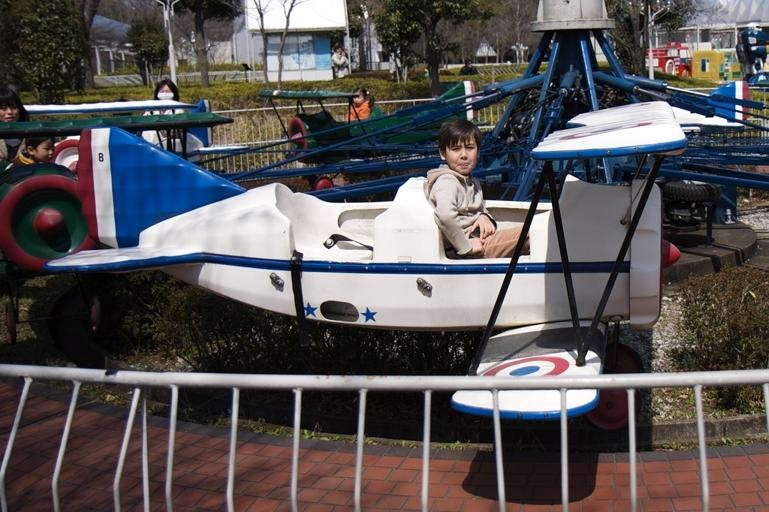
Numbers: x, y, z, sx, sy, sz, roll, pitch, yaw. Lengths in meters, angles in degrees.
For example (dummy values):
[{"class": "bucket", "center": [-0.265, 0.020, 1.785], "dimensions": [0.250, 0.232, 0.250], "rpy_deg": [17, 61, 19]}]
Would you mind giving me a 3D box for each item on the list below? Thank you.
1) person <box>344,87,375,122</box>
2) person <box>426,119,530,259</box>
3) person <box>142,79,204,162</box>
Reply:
[{"class": "person", "center": [-0.552, -3.438, 17.701], "dimensions": [0.599, 0.682, 1.694], "rpy_deg": [-1, 14, -3]}, {"class": "person", "center": [0.967, -0.657, 7.651], "dimensions": [1.144, 1.433, 0.968], "rpy_deg": [-3, 13, 22]}, {"class": "person", "center": [-4.075, -2.165, 14.386], "dimensions": [0.726, 2.247, 0.766], "rpy_deg": [4, 35, -6]}]
